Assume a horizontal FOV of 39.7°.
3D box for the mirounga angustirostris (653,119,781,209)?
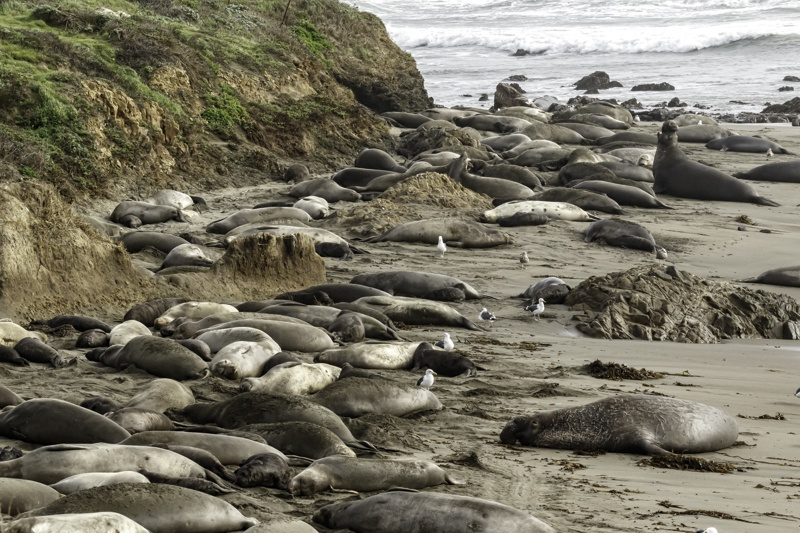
[{"bbox_3d":[6.979,-2.133,25.051,3.333,1.218,1.581,17,20,40],"label":"mirounga angustirostris"}]
